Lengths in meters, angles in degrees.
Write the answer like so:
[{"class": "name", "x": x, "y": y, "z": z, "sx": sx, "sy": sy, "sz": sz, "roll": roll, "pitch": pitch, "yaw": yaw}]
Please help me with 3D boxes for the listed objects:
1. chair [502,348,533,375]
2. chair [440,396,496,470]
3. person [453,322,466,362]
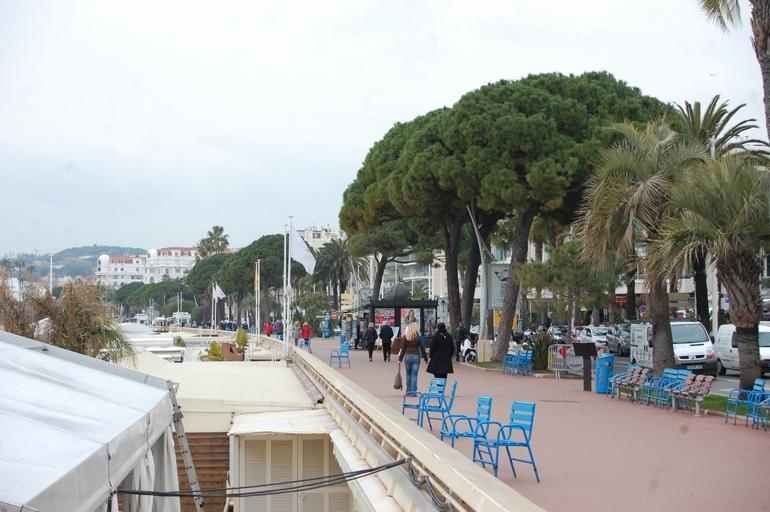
[{"class": "chair", "x": 5.270, "y": 4.349, "z": 30.615, "sx": 0.863, "sy": 1.187, "sz": 1.116, "roll": 6, "pitch": -9, "yaw": -36}, {"class": "chair", "x": 1.582, "y": 3.527, "z": 15.024, "sx": 1.173, "sy": 1.888, "sz": 1.264, "roll": 2, "pitch": -7, "yaw": -15}, {"class": "person", "x": 3.692, "y": 4.260, "z": 36.998, "sx": 0.545, "sy": 1.691, "sz": 1.088, "roll": -1, "pitch": -5, "yaw": 4}]
